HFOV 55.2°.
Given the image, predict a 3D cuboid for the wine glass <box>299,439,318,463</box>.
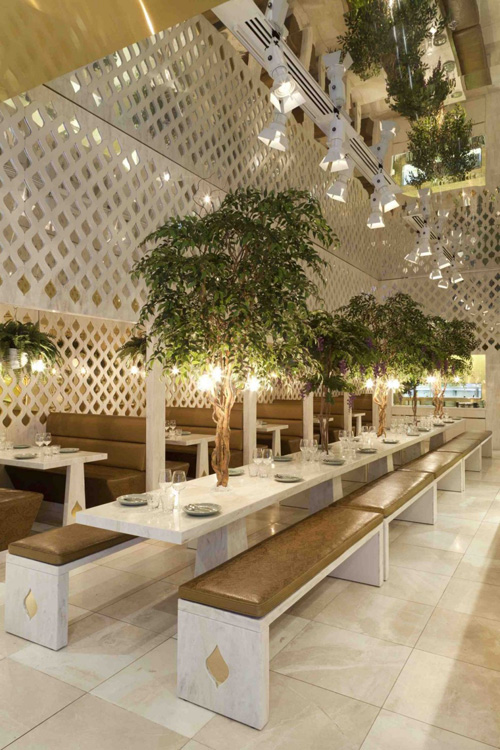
[{"bbox_3d":[0.436,0.565,3.568,0.120,0.161,0.136,-1,-8,1],"label":"wine glass"}]
